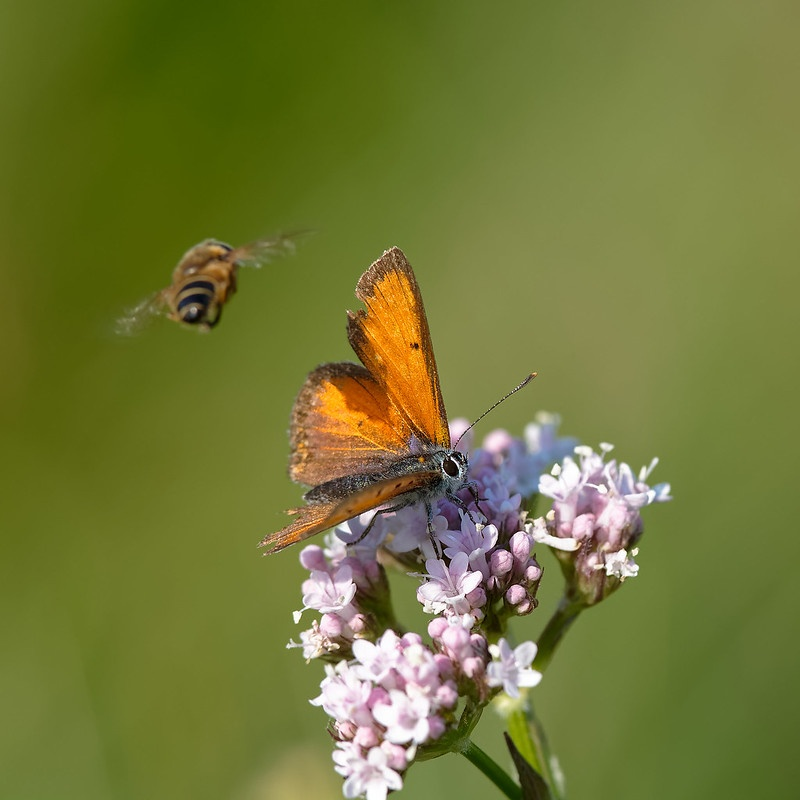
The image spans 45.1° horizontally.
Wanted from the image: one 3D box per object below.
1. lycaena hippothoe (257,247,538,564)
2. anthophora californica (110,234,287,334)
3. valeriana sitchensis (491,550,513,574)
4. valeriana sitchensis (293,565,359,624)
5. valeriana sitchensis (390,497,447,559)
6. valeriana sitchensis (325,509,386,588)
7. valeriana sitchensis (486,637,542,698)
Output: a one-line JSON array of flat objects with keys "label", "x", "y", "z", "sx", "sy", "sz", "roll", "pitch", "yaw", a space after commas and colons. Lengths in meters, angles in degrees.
[{"label": "lycaena hippothoe", "x": -0.039, "y": 0.096, "z": 5.052, "sx": 1.092, "sy": 1.749, "sz": 1.283, "roll": 1, "pitch": -45, "yaw": -2}, {"label": "anthophora californica", "x": -0.982, "y": -0.592, "z": 4.871, "sx": 0.946, "sy": 0.352, "sz": 0.365, "roll": -29, "pitch": -37, "yaw": 0}, {"label": "valeriana sitchensis", "x": 0.499, "y": 0.779, "z": 4.681, "sx": 0.051, "sy": 0.085, "sz": 0.119, "roll": -18, "pitch": -46, "yaw": -29}, {"label": "valeriana sitchensis", "x": -0.347, "y": 0.929, "z": 4.689, "sx": 0.246, "sy": 0.302, "sz": 0.149, "roll": 5, "pitch": -39, "yaw": 29}, {"label": "valeriana sitchensis", "x": 0.080, "y": 0.637, "z": 4.840, "sx": 0.201, "sy": 0.191, "sz": 0.352, "roll": -3, "pitch": -83, "yaw": -19}, {"label": "valeriana sitchensis", "x": -0.224, "y": 0.753, "z": 5.020, "sx": 0.340, "sy": 0.341, "sz": 0.175, "roll": -44, "pitch": -58, "yaw": 2}, {"label": "valeriana sitchensis", "x": 0.511, "y": 1.226, "z": 4.314, "sx": 0.230, "sy": 0.125, "sz": 0.297, "roll": -10, "pitch": -85, "yaw": -28}]
